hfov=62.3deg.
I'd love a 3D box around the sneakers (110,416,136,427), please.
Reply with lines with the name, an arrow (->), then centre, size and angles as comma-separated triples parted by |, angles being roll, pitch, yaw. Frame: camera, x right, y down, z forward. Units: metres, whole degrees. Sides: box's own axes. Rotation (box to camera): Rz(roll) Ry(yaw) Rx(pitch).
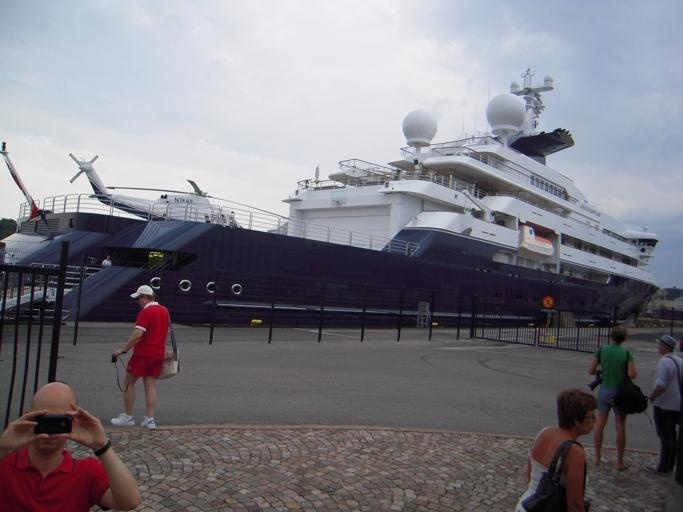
sneakers -> -2.467, 1.863, 6.373 | 0.325, 0.119, 0.107 | 4, 3, -6

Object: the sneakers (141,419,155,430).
sneakers -> -2.131, 1.838, 6.195 | 0.086, 0.082, 0.218 | 1, -1, -34

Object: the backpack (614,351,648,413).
backpack -> 3.170, 1.546, 6.186 | 0.324, 0.436, 0.335 | 2, -3, 26

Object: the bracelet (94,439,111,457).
bracelet -> -1.403, 1.127, 3.300 | 0.102, 0.026, 0.100 | -18, 13, 23

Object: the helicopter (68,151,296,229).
helicopter -> -4.804, -1.499, 17.515 | 6.152, 1.921, 4.627 | 7, 4, -16
